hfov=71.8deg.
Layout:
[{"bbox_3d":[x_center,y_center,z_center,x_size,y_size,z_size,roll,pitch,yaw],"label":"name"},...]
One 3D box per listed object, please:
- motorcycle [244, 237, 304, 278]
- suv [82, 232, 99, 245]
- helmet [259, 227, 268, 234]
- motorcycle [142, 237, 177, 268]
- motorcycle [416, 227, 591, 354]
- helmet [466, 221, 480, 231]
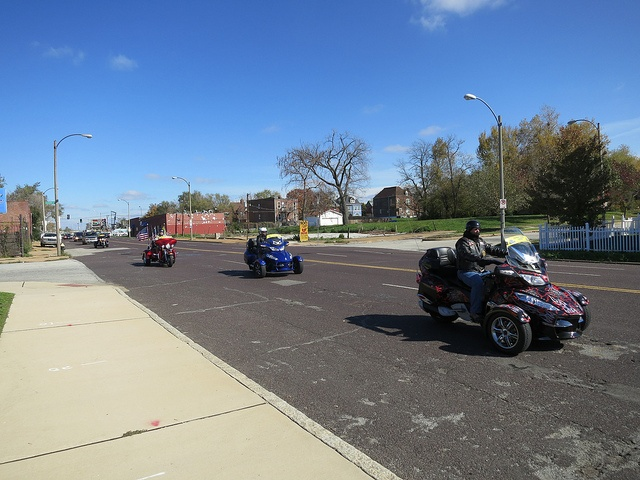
[{"bbox_3d":[-1.931,0.534,16.462,1.639,1.391,2.928,-1,4,-31],"label":"motorcycle"},{"bbox_3d":[-26.569,-0.277,51.254,1.464,1.181,2.915,0,-6,-34],"label":"suv"},{"bbox_3d":[-1.967,-0.337,15.224,0.235,0.238,0.186,-9,-3,42],"label":"helmet"},{"bbox_3d":[-7.434,0.526,20.646,2.102,1.559,0.614,7,12,40],"label":"motorcycle"},{"bbox_3d":[2.951,0.834,7.871,1.744,1.834,3.335,-2,3,-28],"label":"motorcycle"},{"bbox_3d":[2.770,-0.289,8.007,0.187,0.202,0.247,3,26,13],"label":"helmet"}]
